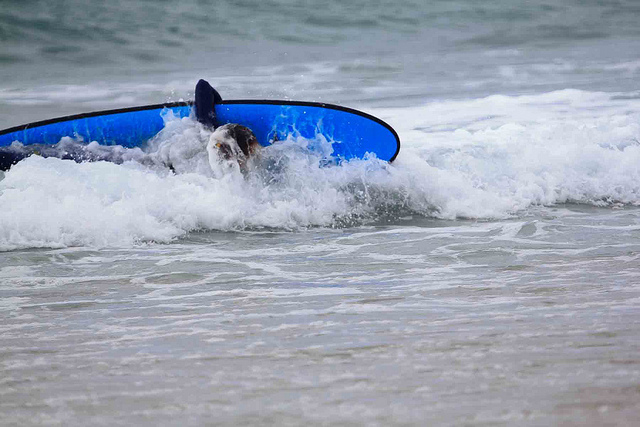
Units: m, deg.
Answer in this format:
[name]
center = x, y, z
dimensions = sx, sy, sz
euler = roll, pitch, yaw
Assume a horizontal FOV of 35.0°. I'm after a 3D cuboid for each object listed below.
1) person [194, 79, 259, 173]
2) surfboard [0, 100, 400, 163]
[person]
center = -1.204, -1.114, 12.909
dimensions = 0.746, 1.099, 0.894
euler = -5, 17, -10
[surfboard]
center = -2.259, -1.140, 13.110
dimensions = 6.714, 0.471, 1.379
euler = 0, 45, 1
